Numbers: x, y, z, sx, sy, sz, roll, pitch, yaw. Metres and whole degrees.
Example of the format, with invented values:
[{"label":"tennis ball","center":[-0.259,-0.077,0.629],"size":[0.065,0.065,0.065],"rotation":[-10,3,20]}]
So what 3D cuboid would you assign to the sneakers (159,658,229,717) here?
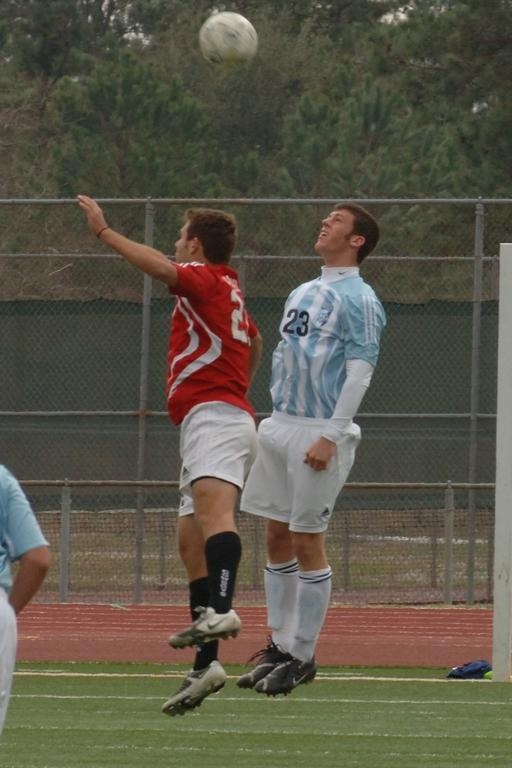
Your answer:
[{"label":"sneakers","center":[-0.317,1.514,8.765],"size":[0.303,0.278,0.168],"rotation":[1,3,-2]}]

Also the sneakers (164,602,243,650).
[{"label":"sneakers","center":[-0.261,1.200,8.761],"size":[0.343,0.196,0.144],"rotation":[1,3,-7]}]

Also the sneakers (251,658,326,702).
[{"label":"sneakers","center":[0.152,1.521,9.257],"size":[0.373,0.196,0.137],"rotation":[-21,22,-31]}]

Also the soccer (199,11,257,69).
[{"label":"soccer","center":[-0.206,-2.570,13.358],"size":[0.436,0.397,0.360],"rotation":[0,3,-11]}]

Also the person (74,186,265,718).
[{"label":"person","center":[-0.357,0.365,9.058],"size":[0.685,2.505,0.881],"rotation":[1,3,0]}]
